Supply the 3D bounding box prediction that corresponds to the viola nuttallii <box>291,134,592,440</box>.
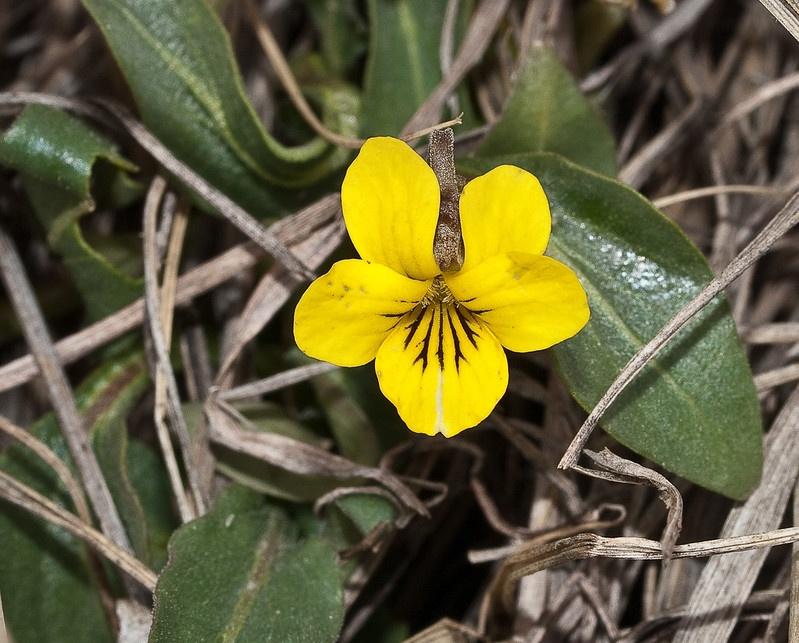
[{"bbox_3d":[0.047,-0.054,1.122,0.348,0.130,0.434,0,-73,5],"label":"viola nuttallii"}]
